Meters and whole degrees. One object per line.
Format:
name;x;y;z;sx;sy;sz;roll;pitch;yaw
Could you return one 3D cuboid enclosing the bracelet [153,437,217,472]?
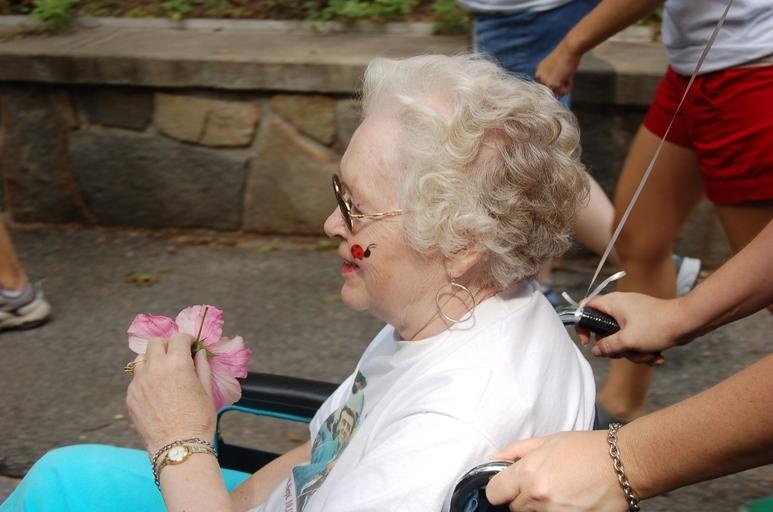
bracelet;-0.529;0.504;2.351;0.157;0.137;0.071;-9;75;7
